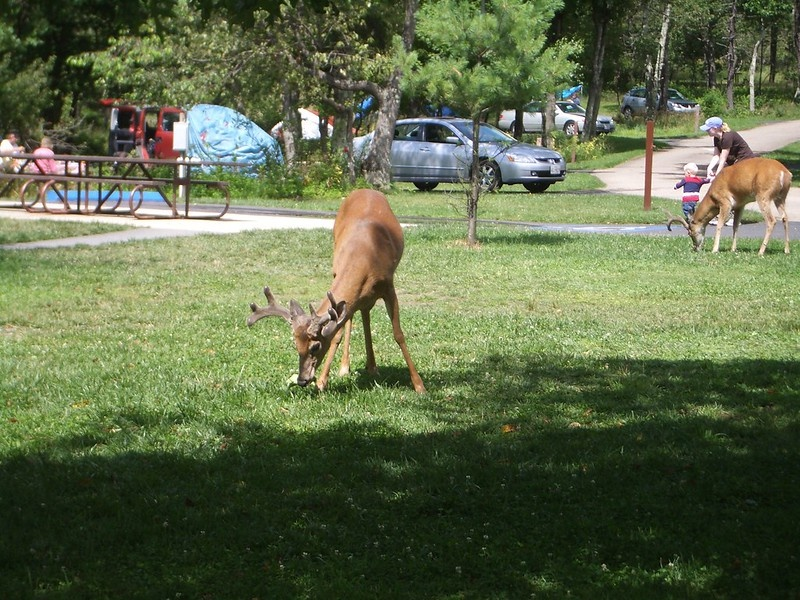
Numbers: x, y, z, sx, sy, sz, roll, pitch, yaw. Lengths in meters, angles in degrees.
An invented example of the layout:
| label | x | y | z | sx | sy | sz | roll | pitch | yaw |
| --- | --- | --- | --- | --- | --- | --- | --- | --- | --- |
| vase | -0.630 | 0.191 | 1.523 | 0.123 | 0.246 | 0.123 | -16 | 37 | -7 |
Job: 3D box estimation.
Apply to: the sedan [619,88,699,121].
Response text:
| label | x | y | z | sx | sy | sz | roll | pitch | yaw |
| --- | --- | --- | --- | --- | --- | --- | --- | --- | --- |
| sedan | 15.374 | -11.742 | 68.808 | 4.386 | 1.725 | 2.082 | 4 | 10 | 31 |

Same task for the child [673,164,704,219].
| label | x | y | z | sx | sy | sz | roll | pitch | yaw |
| --- | --- | --- | --- | --- | --- | --- | --- | --- | --- |
| child | 6.227 | -2.286 | 24.394 | 0.654 | 1.351 | 0.442 | -4 | 32 | 1 |

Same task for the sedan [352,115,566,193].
| label | x | y | z | sx | sy | sz | roll | pitch | yaw |
| --- | --- | --- | --- | --- | --- | --- | --- | --- | --- |
| sedan | 1.818 | -4.246 | 34.746 | 3.279 | 2.331 | 6.165 | -9 | 15 | -42 |

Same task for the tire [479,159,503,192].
| label | x | y | z | sx | sy | sz | roll | pitch | yaw |
| --- | --- | --- | --- | --- | --- | --- | --- | --- | --- |
| tire | 2.612 | -3.628 | 33.266 | 0.630 | 0.925 | 1.078 | 3 | 11 | 7 |

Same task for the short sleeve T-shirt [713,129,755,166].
| label | x | y | z | sx | sy | sz | roll | pitch | yaw |
| --- | --- | --- | --- | --- | --- | --- | --- | --- | --- |
| short sleeve T-shirt | 6.716 | -3.087 | 23.224 | 0.825 | 0.856 | 0.666 | -2 | 6 | -1 |
